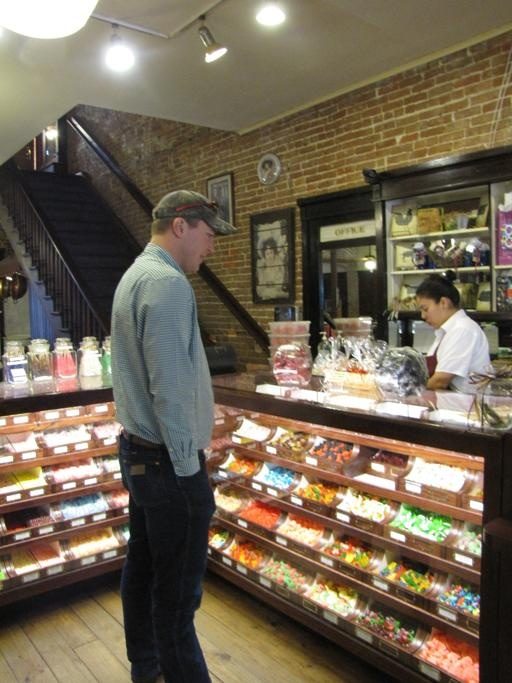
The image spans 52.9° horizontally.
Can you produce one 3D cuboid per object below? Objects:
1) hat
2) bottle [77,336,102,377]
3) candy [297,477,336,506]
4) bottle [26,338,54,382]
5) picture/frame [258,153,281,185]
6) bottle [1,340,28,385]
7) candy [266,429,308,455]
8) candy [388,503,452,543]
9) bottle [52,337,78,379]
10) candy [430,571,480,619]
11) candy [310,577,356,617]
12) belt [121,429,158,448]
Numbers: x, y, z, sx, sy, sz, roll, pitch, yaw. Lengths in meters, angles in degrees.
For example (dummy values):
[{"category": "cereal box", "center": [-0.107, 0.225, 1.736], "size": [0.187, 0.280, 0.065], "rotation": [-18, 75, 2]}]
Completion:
[{"category": "hat", "center": [-0.167, -0.411, 1.683], "size": [0.281, 0.126, 0.173], "rotation": [4, 4, 10]}, {"category": "bottle", "center": [-0.975, 0.091, 3.030], "size": [0.125, 0.214, 0.204], "rotation": [-3, 1, -19]}, {"category": "candy", "center": [0.270, 0.642, 2.204], "size": [0.087, 0.034, 0.113], "rotation": [-1, 6, -34]}, {"category": "bottle", "center": [-1.219, 0.104, 2.920], "size": [0.130, 0.228, 0.182], "rotation": [-3, 1, -22]}, {"category": "picture/frame", "center": [0.130, -1.795, 5.395], "size": [0.080, 0.282, 0.287], "rotation": [-4, 42, -42]}, {"category": "bottle", "center": [-1.327, 0.115, 2.851], "size": [0.124, 0.234, 0.300], "rotation": [-3, 2, -26]}, {"category": "candy", "center": [0.143, 0.462, 2.349], "size": [0.130, 0.042, 0.139], "rotation": [2, 8, 18]}, {"category": "candy", "center": [0.580, 0.634, 1.806], "size": [0.091, 0.037, 0.123], "rotation": [-1, 8, -41]}, {"category": "bottle", "center": [-1.099, 0.098, 2.970], "size": [0.115, 0.226, 0.124], "rotation": [-2, 1, 0]}, {"category": "candy", "center": [0.655, 0.829, 1.674], "size": [0.072, 0.055, 0.172], "rotation": [-3, 2, -33]}, {"category": "candy", "center": [0.314, 1.060, 2.125], "size": [0.081, 0.037, 0.123], "rotation": [-6, 10, -32]}, {"category": "belt", "center": [-0.347, 0.291, 1.552], "size": [0.076, 0.017, 0.070], "rotation": [14, -4, -18]}]
